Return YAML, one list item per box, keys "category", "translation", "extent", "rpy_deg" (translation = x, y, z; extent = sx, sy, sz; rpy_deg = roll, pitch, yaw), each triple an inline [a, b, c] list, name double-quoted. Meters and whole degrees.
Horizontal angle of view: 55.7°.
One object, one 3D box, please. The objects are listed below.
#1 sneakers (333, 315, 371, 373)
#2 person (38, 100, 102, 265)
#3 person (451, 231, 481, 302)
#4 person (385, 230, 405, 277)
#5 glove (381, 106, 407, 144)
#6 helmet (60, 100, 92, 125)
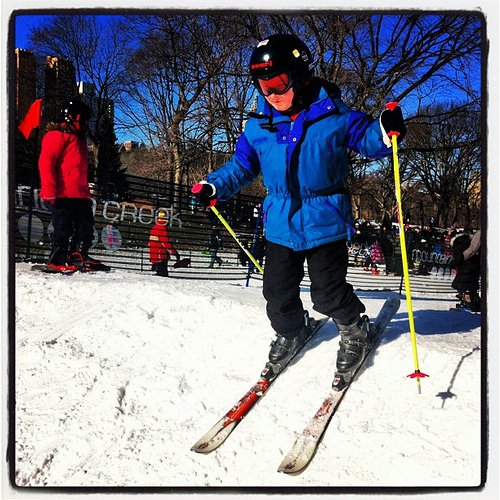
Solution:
- category: "sneakers"
  translation: [0.792, 0.704, 3.814]
  extent: [0.166, 0.545, 0.250]
  rpy_deg: [-9, -47, 45]
- category: "person"
  translation: [-2.225, -0.804, 5.849]
  extent: [0.701, 2.138, 0.378]
  rpy_deg: [1, 3, -30]
- category: "person"
  translation: [3.238, 0.322, 7.117]
  extent: [0.406, 1.214, 0.845]
  rpy_deg: [4, 3, 27]
- category: "person"
  translation: [2.838, 0.103, 9.430]
  extent: [0.220, 0.959, 0.988]
  rpy_deg: [6, -24, 13]
- category: "glove"
  translation: [0.968, -0.857, 3.167]
  extent: [0.211, 0.254, 0.119]
  rpy_deg: [2, 3, -22]
- category: "helmet"
  translation: [-2.185, -1.727, 5.926]
  extent: [0.326, 0.336, 0.253]
  rpy_deg: [-16, 22, -27]
